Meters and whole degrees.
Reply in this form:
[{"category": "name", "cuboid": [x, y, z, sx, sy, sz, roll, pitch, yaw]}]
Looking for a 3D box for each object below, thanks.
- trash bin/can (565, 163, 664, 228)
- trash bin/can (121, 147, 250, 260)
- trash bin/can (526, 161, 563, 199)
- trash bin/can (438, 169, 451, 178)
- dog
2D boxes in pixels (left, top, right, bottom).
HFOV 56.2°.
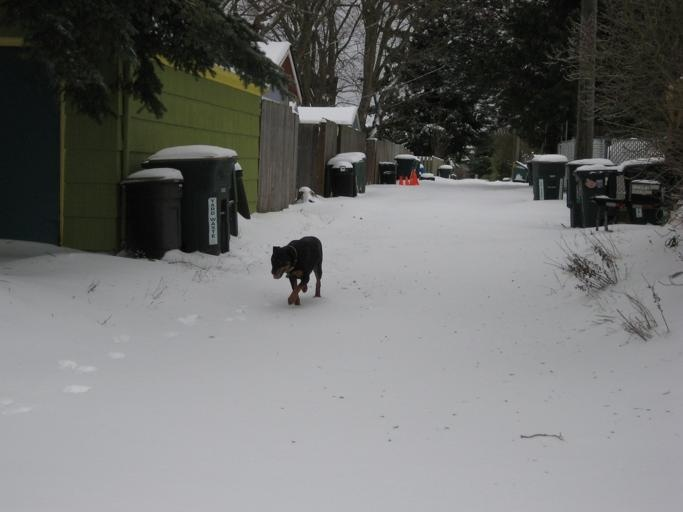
[{"category": "trash bin/can", "cuboid": [4.460, -1.021, 10.462, 1.081, 0.927, 0.962, 0, 3, 21]}, {"category": "trash bin/can", "cuboid": [-2.081, -0.803, 9.380, 1.340, 1.667, 1.288, -1, 4, -7]}, {"category": "trash bin/can", "cuboid": [5.063, -1.888, 15.862, 0.743, 1.239, 0.776, 0, 1, 2]}, {"category": "trash bin/can", "cuboid": [7.010, -5.759, 43.719, 0.734, 0.835, 0.723, -1, -2, 44]}, {"category": "dog", "cuboid": [-0.484, 0.167, 7.593, 0.262, 0.802, 1.191, 4, 8, 21]}]
